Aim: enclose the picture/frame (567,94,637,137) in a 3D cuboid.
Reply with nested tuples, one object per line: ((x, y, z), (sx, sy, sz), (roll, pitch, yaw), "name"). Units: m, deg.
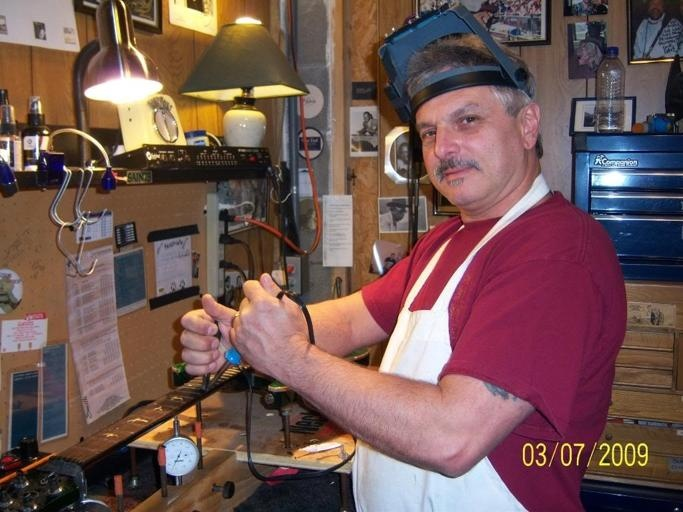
((1.320, -0.701, 2.991), (0.265, 0.225, 0.022), (3, 8, 27), "picture/frame")

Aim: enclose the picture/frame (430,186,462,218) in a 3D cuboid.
((0.554, -0.285, 3.248), (0.176, 0.137, 0.042), (8, 17, 29), "picture/frame")

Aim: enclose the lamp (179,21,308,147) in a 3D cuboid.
((-0.350, -0.576, 2.359), (0.443, 0.641, 0.475), (1, 0, 14), "lamp")
